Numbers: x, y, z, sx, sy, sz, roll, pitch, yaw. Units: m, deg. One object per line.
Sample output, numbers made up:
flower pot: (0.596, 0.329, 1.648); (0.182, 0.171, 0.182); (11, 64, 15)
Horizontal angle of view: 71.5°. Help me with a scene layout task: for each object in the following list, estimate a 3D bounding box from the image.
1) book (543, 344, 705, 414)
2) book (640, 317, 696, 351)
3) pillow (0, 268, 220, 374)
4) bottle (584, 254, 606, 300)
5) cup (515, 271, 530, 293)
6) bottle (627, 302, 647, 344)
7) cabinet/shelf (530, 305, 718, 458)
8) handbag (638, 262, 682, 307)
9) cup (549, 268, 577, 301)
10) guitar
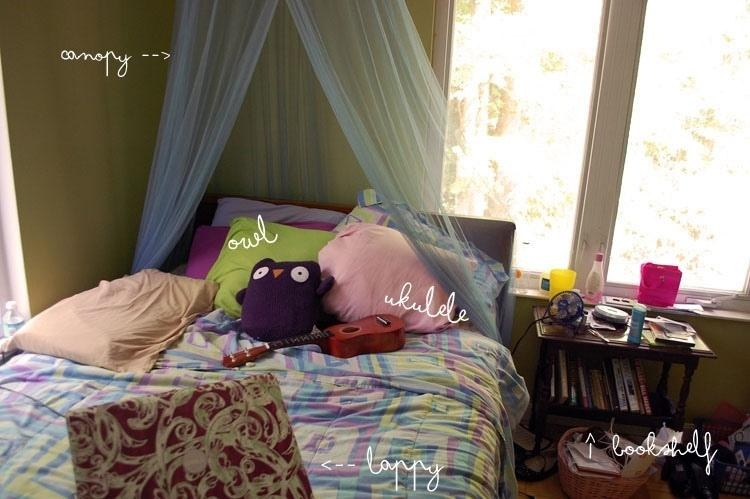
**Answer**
book: (1.486, 0.777, 3.131); (0.395, 0.293, 0.258); (3, 20, 5)
book: (1.723, 0.482, 3.039); (0.274, 0.090, 0.301); (12, 14, 27)
pillow: (-1.278, 0.349, 2.694); (0.533, 0.157, 0.579); (7, 17, 21)
bottle: (1.398, 0.173, 3.316); (0.122, 0.324, 0.116); (4, 13, -1)
cup: (0.965, 0.209, 3.409); (0.116, 0.121, 0.063); (-13, 5, -7)
bottle: (1.528, 0.418, 3.030); (0.080, 0.206, 0.251); (11, 14, 28)
cabinet/shelf: (1.446, 0.740, 3.403); (1.150, 0.955, 0.788); (3, 21, 5)
handbag: (1.778, 0.176, 3.354); (0.238, 0.307, 0.272); (15, 20, 32)
cup: (1.186, 0.209, 3.295); (0.168, 0.193, 0.163); (4, 10, -1)
guitar: (-0.279, 0.456, 2.596); (0.894, 0.130, 0.315); (-7, 15, -16)
